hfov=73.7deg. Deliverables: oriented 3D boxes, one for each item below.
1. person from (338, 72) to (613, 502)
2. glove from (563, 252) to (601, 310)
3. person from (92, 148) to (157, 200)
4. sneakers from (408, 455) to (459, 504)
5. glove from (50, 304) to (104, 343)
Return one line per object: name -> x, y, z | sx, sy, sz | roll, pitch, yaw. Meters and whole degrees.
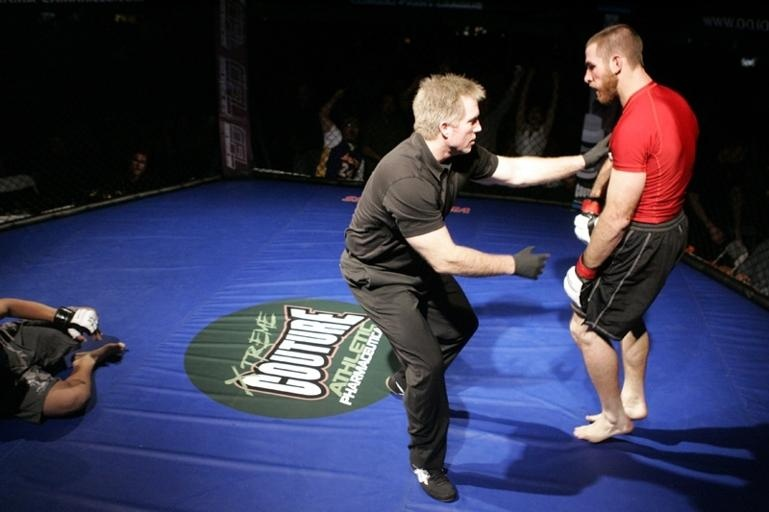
person -> 0.491, 0.106, 3.704 | 1.236, 2.648, 1.130 | -12, 26, -37
glove -> 1.404, 0.208, 3.758 | 0.139, 0.324, 0.235 | 19, 56, -1
person -> -3.960, -1.219, 7.722 | 0.352, 0.449, 1.123 | 20, 29, -19
sneakers -> 0.327, 1.532, 3.492 | 0.154, 0.176, 0.426 | -6, 7, -34
glove -> -2.669, 0.535, 4.362 | 0.378, 0.145, 0.315 | 19, 5, -13
